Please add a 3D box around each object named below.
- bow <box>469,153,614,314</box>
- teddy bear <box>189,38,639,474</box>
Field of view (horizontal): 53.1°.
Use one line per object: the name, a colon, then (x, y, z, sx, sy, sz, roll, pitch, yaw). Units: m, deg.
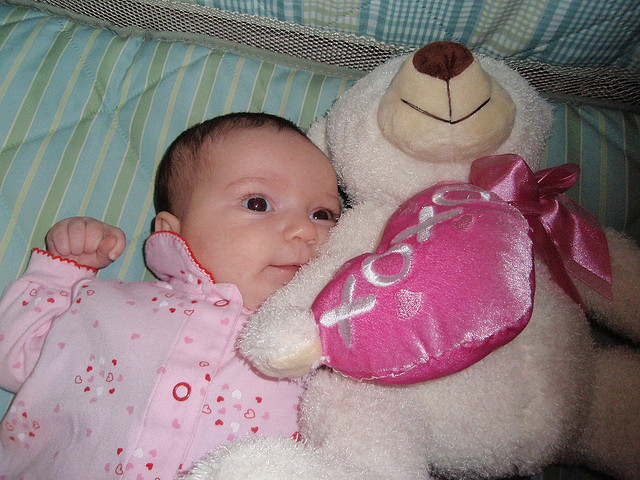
bow: (0.521, -0.034, 1.540, 0.164, 0.401, 0.374, 37, -4, -5)
teddy bear: (0.226, 0.061, 1.440, 1.074, 0.885, 0.649, -5, 2, -6)
